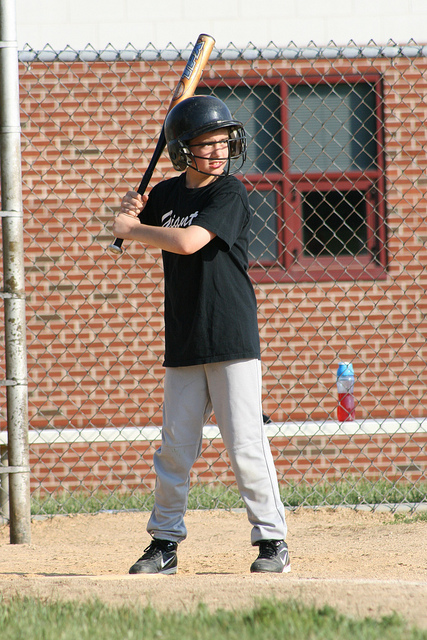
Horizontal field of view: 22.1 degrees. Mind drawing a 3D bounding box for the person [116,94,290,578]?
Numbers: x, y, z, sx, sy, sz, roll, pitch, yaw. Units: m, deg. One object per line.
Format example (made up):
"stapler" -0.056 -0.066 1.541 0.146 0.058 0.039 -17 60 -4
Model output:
"person" -0.053 0.057 4.611 0.754 2.001 0.455 2 3 18
